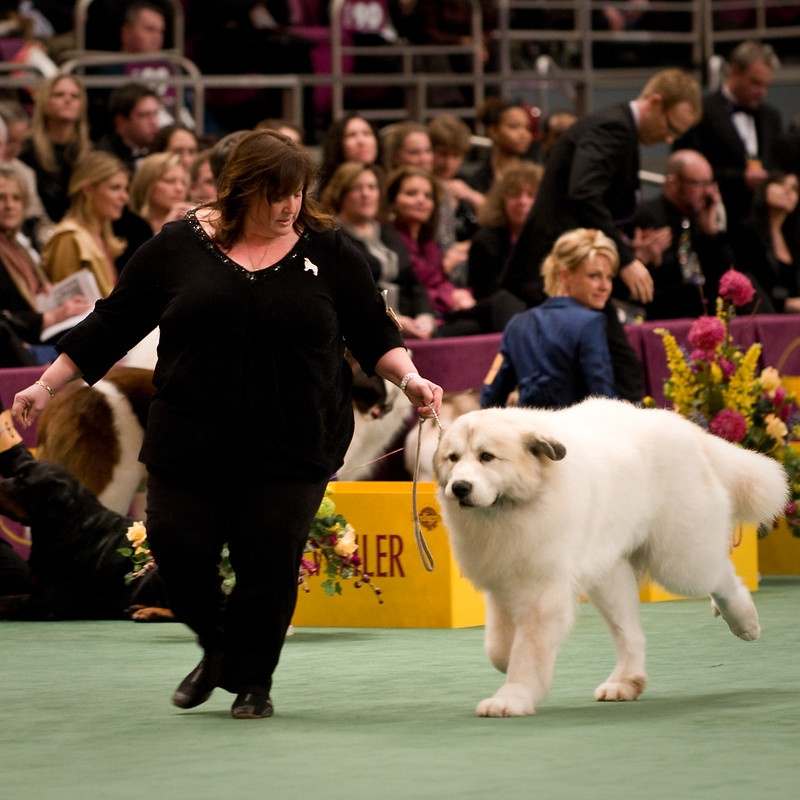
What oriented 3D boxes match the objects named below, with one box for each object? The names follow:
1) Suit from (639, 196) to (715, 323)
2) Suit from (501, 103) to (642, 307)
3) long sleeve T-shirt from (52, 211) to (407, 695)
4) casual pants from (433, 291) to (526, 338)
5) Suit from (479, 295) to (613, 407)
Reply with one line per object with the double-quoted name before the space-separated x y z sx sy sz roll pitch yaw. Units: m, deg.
"Suit" 2.119 -1.026 8.579 0.281 0.907 1.091 -5 4 12
"Suit" 1.098 -1.129 6.750 0.576 1.241 1.255 -1 12 -8
"long sleeve T-shirt" -0.488 0.171 3.382 0.989 1.401 0.424 0 14 -2
"casual pants" 0.568 -0.600 8.144 0.444 0.236 0.533 -2 1 -30
"Suit" 0.731 -0.188 5.342 0.735 0.517 0.257 1 -4 33
